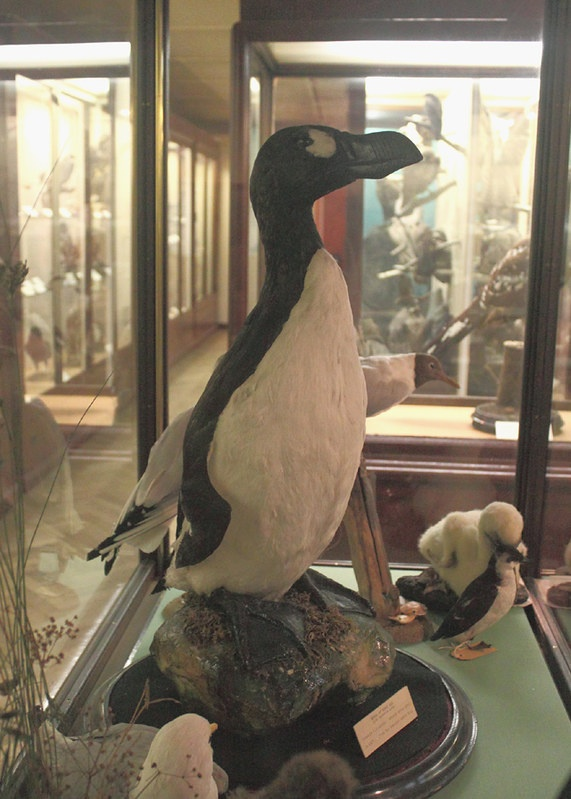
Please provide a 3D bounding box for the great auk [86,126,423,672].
[{"bbox_3d":[-0.022,-0.017,1.545,0.739,0.853,0.343,2,9,26],"label":"great auk"}]

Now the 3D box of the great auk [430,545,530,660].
[{"bbox_3d":[0.408,0.412,1.910,0.181,0.277,0.256,1,10,9],"label":"great auk"}]

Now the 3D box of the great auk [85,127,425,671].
[{"bbox_3d":[0.007,-0.026,1.538,0.796,0.850,0.341,2,7,34],"label":"great auk"}]
